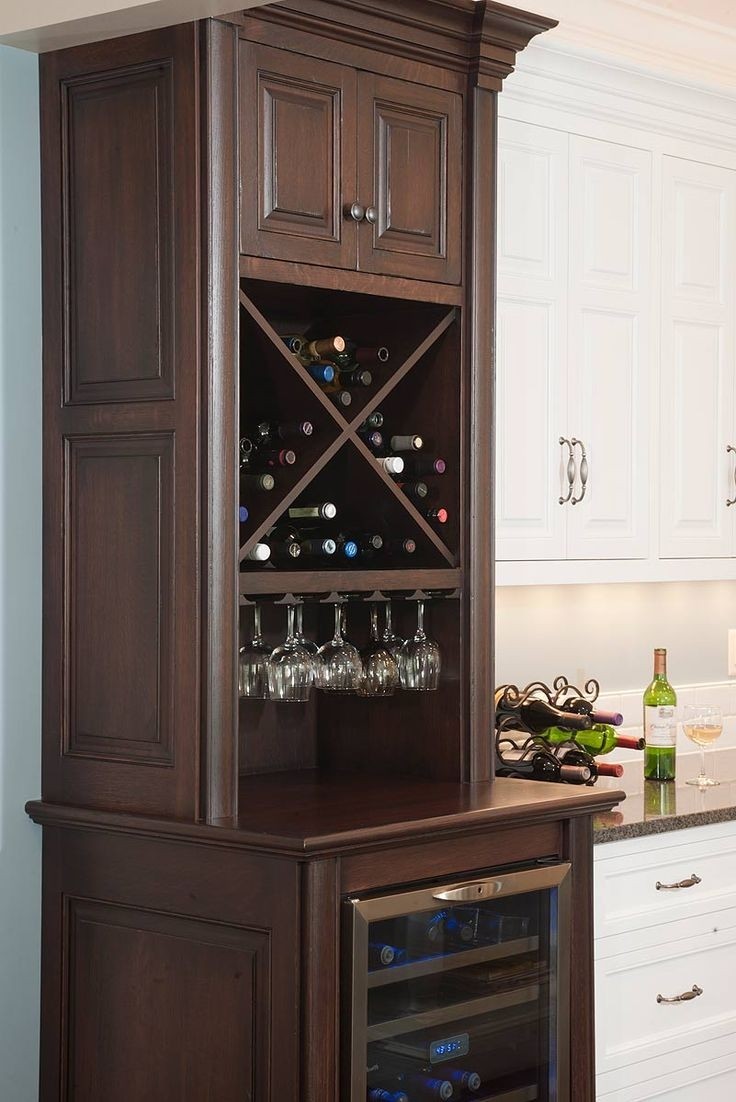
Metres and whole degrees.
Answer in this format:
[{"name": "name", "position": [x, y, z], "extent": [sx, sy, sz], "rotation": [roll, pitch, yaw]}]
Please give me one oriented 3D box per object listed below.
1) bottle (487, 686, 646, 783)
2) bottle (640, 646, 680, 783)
[{"name": "bottle", "position": [0.460, 0.441, 2.415], "extent": [0.279, 0.102, 0.302], "rotation": [7, -19, 2]}, {"name": "bottle", "position": [0.765, 0.434, 2.672], "extent": [0.074, 0.343, 0.181], "rotation": [0, 2, 14]}]
